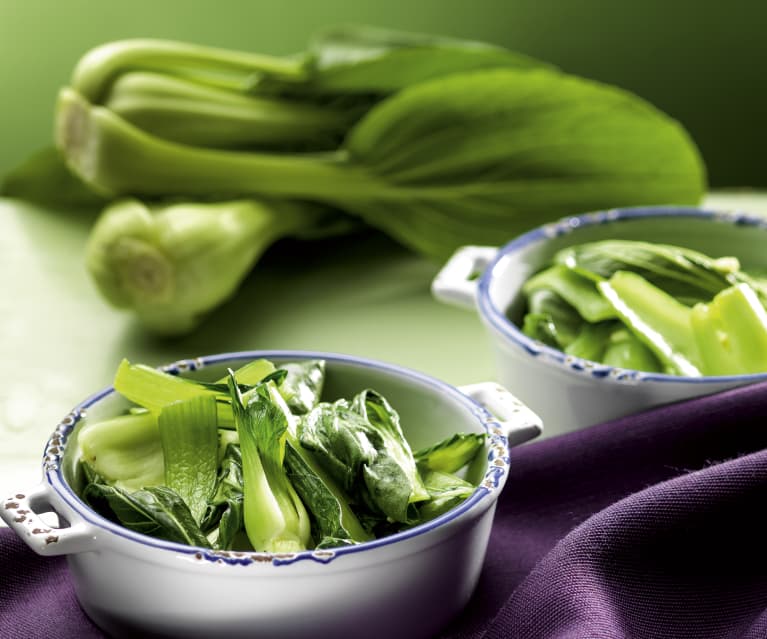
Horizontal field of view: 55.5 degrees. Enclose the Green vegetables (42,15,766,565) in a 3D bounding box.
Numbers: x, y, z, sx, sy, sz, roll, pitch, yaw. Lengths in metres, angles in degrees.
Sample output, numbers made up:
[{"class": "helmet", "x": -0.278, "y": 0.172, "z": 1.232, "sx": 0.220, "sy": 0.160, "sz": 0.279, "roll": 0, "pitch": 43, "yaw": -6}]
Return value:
[{"class": "Green vegetables", "x": 0.028, "y": -0.113, "z": 0.687, "sx": 0.488, "sy": 0.202, "sz": 0.306, "roll": -20, "pitch": 11, "yaw": -24}]
